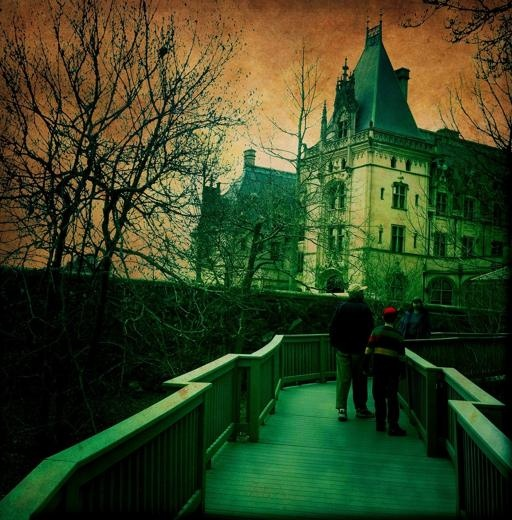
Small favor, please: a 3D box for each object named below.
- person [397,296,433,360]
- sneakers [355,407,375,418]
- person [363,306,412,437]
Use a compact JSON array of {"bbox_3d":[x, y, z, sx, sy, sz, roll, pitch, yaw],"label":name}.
[{"bbox_3d":[3.418,1.525,13.790,0.584,1.491,0.421,3,21,11],"label":"person"},{"bbox_3d":[1.780,2.494,10.269,0.136,0.148,0.303,4,-12,-31],"label":"sneakers"},{"bbox_3d":[1.893,1.637,9.203,0.408,1.891,0.525,-1,3,-35],"label":"person"}]
